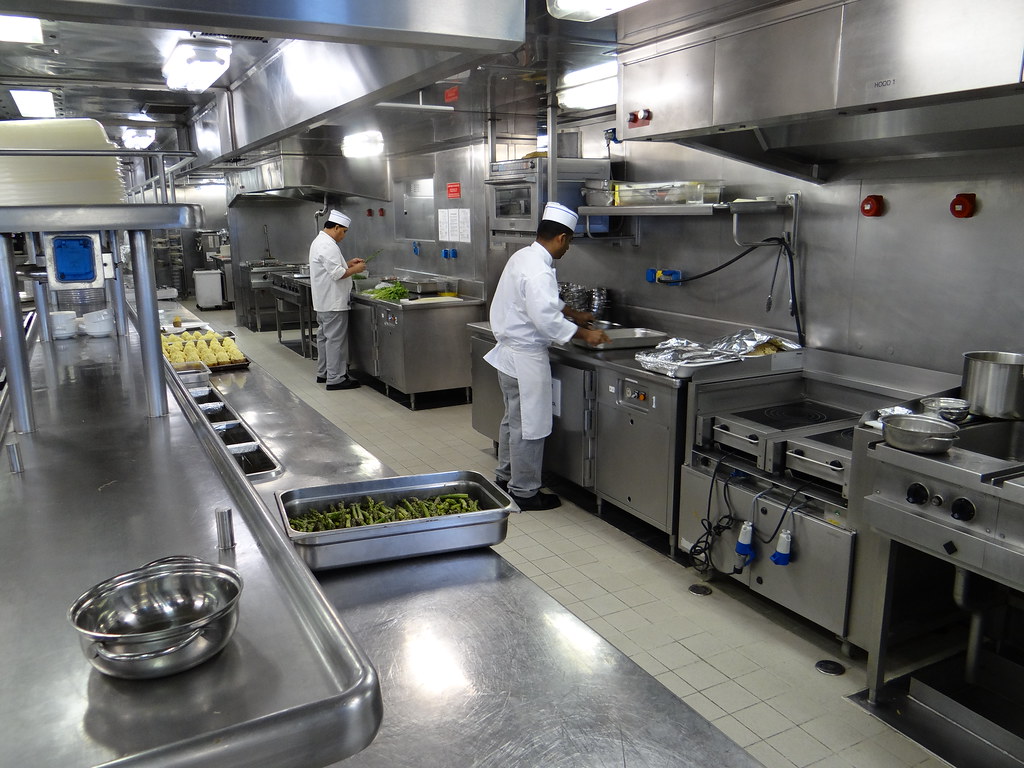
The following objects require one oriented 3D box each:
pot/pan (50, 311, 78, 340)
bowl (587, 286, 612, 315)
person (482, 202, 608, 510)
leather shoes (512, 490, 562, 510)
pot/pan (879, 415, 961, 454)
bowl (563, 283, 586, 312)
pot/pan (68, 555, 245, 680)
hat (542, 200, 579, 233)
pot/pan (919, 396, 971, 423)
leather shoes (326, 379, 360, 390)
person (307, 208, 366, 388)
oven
[{"bbox_3d":[-2.673,-0.366,3.979,0.161,0.153,0.182,-8,15,-36],"label":"pot/pan"},{"bbox_3d":[0.597,-0.590,4.695,0.180,0.243,0.181,3,7,0],"label":"bowl"},{"bbox_3d":[0.192,-0.153,4.233,0.750,1.897,0.709,-5,19,-20],"label":"person"},{"bbox_3d":[0.164,0.716,4.158,0.344,0.131,0.113,-3,12,-16],"label":"leather shoes"},{"bbox_3d":[1.440,0.171,2.306,0.167,0.072,0.181,-6,18,-13],"label":"pot/pan"},{"bbox_3d":[0.447,-0.635,4.748,0.214,0.207,0.145,-3,8,-26],"label":"bowl"},{"bbox_3d":[-0.616,0.411,1.179,0.245,0.117,0.301,3,9,9],"label":"pot/pan"},{"bbox_3d":[0.318,-1.028,4.018,0.224,0.113,0.165,14,-1,-39],"label":"hat"},{"bbox_3d":[1.687,0.089,2.536,0.109,0.045,0.116,-5,14,-11],"label":"pot/pan"},{"bbox_3d":[-1.754,-0.004,6.892,0.334,0.136,0.116,-6,12,-22],"label":"leather shoes"},{"bbox_3d":[-1.817,-0.853,6.796,0.669,1.784,0.494,-11,15,-17],"label":"person"},{"bbox_3d":[0.224,-1.345,4.834,0.590,0.547,0.854,-7,17,-24],"label":"oven"}]
